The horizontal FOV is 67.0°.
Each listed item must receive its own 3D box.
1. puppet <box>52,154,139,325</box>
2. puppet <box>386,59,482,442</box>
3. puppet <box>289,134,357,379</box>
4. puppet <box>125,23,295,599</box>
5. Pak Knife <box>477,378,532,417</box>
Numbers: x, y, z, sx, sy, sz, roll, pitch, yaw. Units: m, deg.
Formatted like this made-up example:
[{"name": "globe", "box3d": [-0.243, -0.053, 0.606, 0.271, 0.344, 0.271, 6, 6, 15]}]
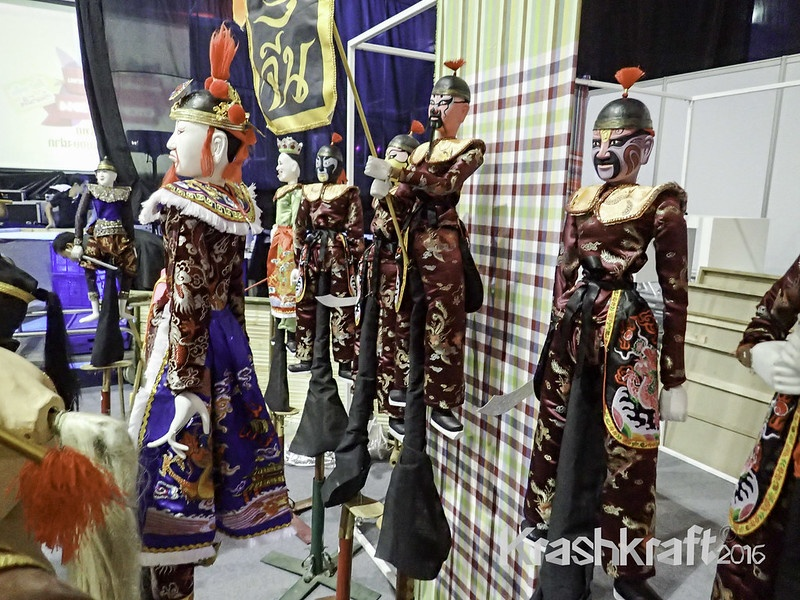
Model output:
[{"name": "puppet", "box3d": [-2.435, -0.469, 4.872, 0.611, 1.322, 0.378, -3, 7, -43]}, {"name": "puppet", "box3d": [0.147, -0.200, 2.599, 0.416, 1.618, 0.539, 3, 14, 15]}, {"name": "puppet", "box3d": [-0.466, -0.283, 3.742, 0.483, 1.439, 0.379, -2, 13, -4]}, {"name": "puppet", "box3d": [-0.788, 0.079, 2.369, 0.665, 2.276, 0.648, -9, 16, -33]}, {"name": "Pak Knife", "box3d": [0.450, 0.407, 2.529, 0.340, 0.059, 0.031, -28, 19, -1]}]
